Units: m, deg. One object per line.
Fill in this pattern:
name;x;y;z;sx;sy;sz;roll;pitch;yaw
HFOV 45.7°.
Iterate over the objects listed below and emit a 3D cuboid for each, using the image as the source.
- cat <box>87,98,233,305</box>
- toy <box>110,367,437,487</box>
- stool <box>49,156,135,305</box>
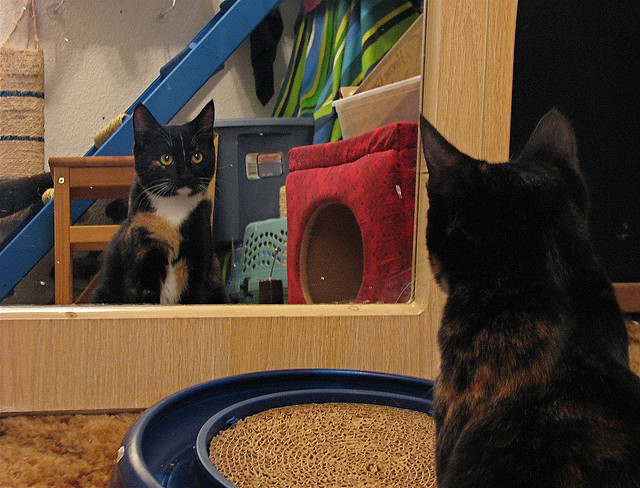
cat;-0.325;-0.062;1.636;0.261;0.494;0.277;-4;20;-32
toy;-0.062;0.303;1.229;0.499;0.145;0.284;3;3;2
stool;-0.490;-0.008;1.684;0.235;0.349;0.233;3;-3;-41
